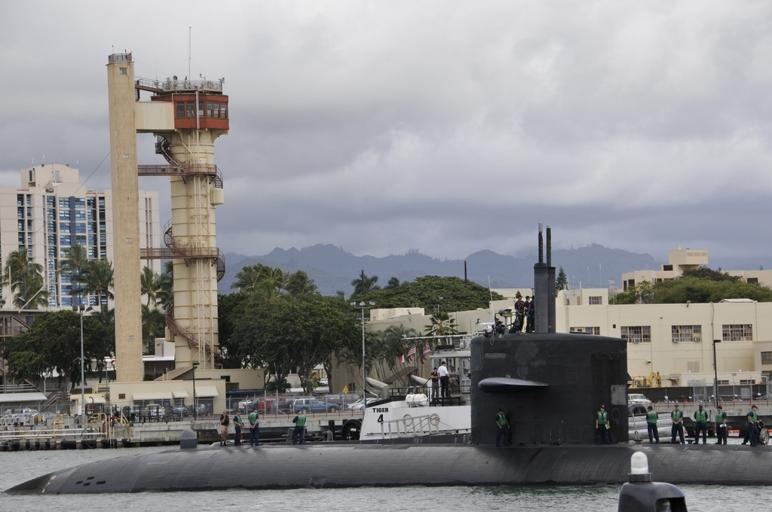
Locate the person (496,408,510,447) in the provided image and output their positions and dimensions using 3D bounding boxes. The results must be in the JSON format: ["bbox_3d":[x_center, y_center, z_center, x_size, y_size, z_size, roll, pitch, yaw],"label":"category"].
[{"bbox_3d":[7.142,10.886,120.403,0.859,2.235,0.374,-2,-5,4],"label":"person"}]

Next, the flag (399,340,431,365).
[{"bbox_3d":[2.196,8.152,160.289,3.734,1.977,0.713,0,-7,6],"label":"flag"}]

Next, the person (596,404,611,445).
[{"bbox_3d":[13.406,10.618,120.013,0.819,2.321,0.298,1,-6,-27],"label":"person"}]

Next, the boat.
[{"bbox_3d":[2.330,8.691,130.533,5.658,7.585,8.709,2,-6,-34],"label":"boat"}]
